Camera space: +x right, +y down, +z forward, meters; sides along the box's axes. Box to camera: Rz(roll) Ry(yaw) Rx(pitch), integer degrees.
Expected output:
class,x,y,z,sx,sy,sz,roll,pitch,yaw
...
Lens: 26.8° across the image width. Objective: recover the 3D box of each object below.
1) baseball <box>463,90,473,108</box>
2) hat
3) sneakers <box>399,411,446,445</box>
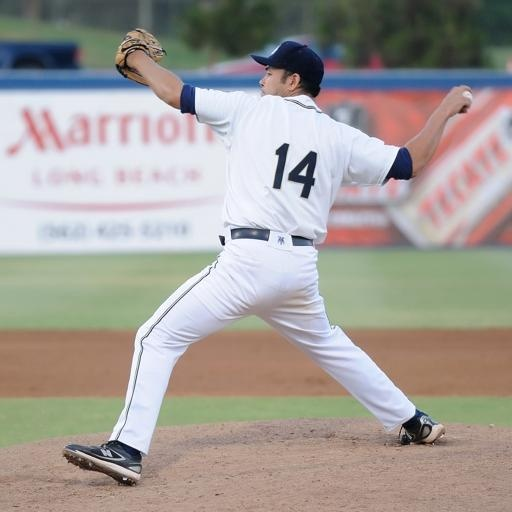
class,x,y,z,sx,sy,sz,roll,pitch,yaw
baseball,1.039,-0.790,5.361,0.042,0.086,0.073,-9,-5,43
hat,0.172,-0.971,5.292,0.387,0.147,0.230,20,1,-9
sneakers,0.833,0.906,5.467,0.116,0.145,0.305,-36,-3,-25
